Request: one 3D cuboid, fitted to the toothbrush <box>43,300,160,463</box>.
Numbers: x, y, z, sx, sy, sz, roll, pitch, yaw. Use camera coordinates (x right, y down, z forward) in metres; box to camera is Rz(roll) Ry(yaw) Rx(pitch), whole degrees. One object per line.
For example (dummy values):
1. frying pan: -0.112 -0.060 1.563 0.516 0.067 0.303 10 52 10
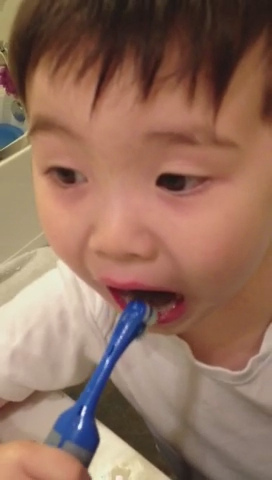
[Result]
1. toothbrush: -0.041 0.150 0.432 0.047 0.059 0.214 26 60 10
